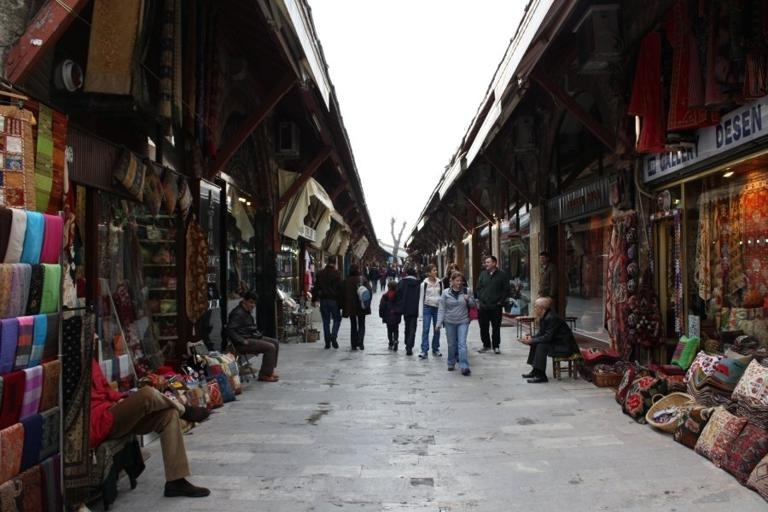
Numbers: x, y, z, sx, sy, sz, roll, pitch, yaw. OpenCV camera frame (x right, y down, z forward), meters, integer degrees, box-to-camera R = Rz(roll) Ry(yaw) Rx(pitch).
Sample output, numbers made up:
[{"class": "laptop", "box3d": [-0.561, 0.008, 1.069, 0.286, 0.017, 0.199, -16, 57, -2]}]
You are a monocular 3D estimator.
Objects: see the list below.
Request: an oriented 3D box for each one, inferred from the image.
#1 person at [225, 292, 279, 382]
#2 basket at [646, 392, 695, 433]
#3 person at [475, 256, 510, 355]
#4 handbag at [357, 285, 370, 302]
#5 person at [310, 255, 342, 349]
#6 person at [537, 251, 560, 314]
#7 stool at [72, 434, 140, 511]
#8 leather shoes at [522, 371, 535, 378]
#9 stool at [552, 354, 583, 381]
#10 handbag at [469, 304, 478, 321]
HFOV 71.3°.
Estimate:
[{"class": "person", "box3d": [-1.936, 1.174, 8.027, 0.667, 1.370, 0.738, 0, 2, 8]}, {"class": "basket", "box3d": [3.024, 1.673, 5.686, 0.462, 0.374, 0.540, 0, 2, 28]}, {"class": "person", "box3d": [2.148, 0.918, 10.561, 0.588, 1.875, 0.603, 0, 2, 10]}, {"class": "handbag", "box3d": [-0.408, 0.727, 10.954, 0.210, 0.319, 0.298, -2, -32, -16]}, {"class": "person", "box3d": [-1.162, 0.932, 11.285, 0.598, 1.946, 0.888, -1, 2, -8]}, {"class": "person", "box3d": [3.419, 0.692, 11.126, 0.391, 1.622, 0.562, -4, 3, -3]}, {"class": "stool", "box3d": [-2.207, 1.724, 4.372, 0.300, 0.251, 0.458, -7, -10, 1]}, {"class": "leather shoes", "box3d": [2.178, 1.775, 8.102, 0.071, 0.085, 0.201, 4, -7, -34]}, {"class": "stool", "box3d": [2.783, 1.672, 8.196, 0.379, 0.496, 0.402, -1, -5, 6]}, {"class": "handbag", "box3d": [1.507, 0.915, 8.997, 0.111, 0.292, 0.354, 0, 2, 17]}]
